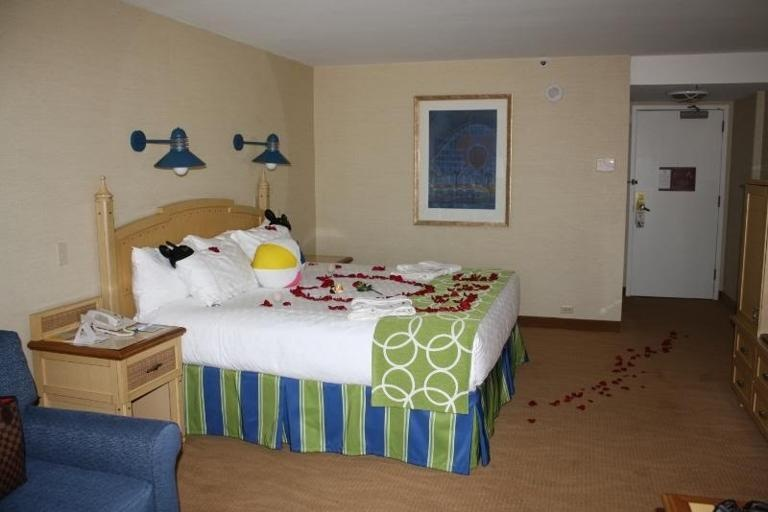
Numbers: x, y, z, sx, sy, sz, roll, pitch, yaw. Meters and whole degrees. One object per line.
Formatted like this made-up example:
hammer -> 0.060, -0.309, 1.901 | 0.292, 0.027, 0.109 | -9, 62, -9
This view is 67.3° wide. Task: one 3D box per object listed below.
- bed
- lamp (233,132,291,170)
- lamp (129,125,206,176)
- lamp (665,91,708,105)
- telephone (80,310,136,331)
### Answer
bed -> -0.545, 0.510, 5.448 | 3.067, 1.938, 2.364 | 2, 14, 13
lamp -> -1.372, -1.162, 6.444 | 0.366, 0.382, 0.595 | 4, 11, 18
lamp -> -1.968, -0.953, 5.319 | 0.638, 0.374, 0.461 | 1, 2, 1
lamp -> 3.781, -1.974, 7.196 | 0.326, 0.173, 0.387 | 0, 9, 11
telephone -> -2.195, 0.508, 4.550 | 0.245, 0.088, 0.205 | 4, 5, 10
